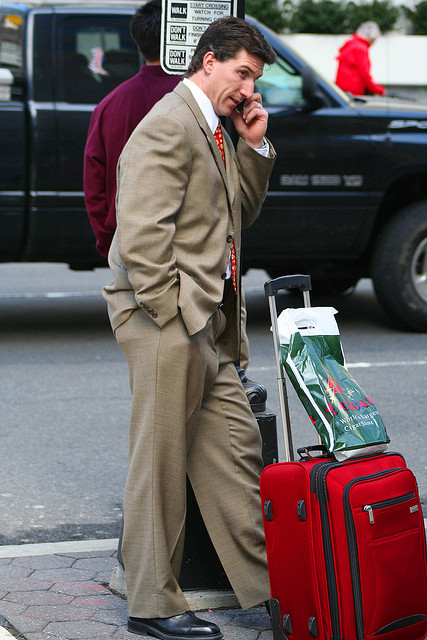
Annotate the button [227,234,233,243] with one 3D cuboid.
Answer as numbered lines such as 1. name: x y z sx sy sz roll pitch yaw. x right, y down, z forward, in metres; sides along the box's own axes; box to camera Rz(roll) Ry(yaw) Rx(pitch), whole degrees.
1. button: 0.053 -0.256 3.058 0.018 0.026 0.009 -5 13 -27

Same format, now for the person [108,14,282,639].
1. person: -0.041 0.016 2.995 0.527 1.853 0.552 -4 12 -21

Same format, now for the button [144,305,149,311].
1. button: -0.197 -0.037 2.880 0.013 0.018 0.007 1 11 3

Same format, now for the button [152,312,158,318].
1. button: -0.173 -0.017 2.882 0.017 0.016 0.005 -3 1 4

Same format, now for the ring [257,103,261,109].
1. ring: 0.154 -0.710 3.233 0.005 0.015 0.017 4 6 -15

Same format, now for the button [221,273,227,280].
1. button: 0.034 -0.137 3.022 0.014 0.018 0.016 -1 22 -3

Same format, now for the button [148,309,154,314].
1. button: -0.184 -0.027 2.883 0.009 0.012 0.013 2 -3 2

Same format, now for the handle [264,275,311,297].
1. handle: 0.245 -0.116 3.205 0.140 0.080 0.317 2 10 8

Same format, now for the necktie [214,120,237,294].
1. necktie: 0.045 -0.371 3.138 0.052 0.546 0.066 9 -11 -24

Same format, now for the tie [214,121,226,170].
1. tie: 0.022 -0.577 3.138 0.032 0.123 0.006 0 -7 -34

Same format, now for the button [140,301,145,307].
1. button: -0.210 -0.050 2.871 0.015 0.014 0.008 -2 4 -11

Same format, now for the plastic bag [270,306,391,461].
1. plastic bag: 0.349 0.186 2.906 0.262 0.414 0.337 -5 13 -28
